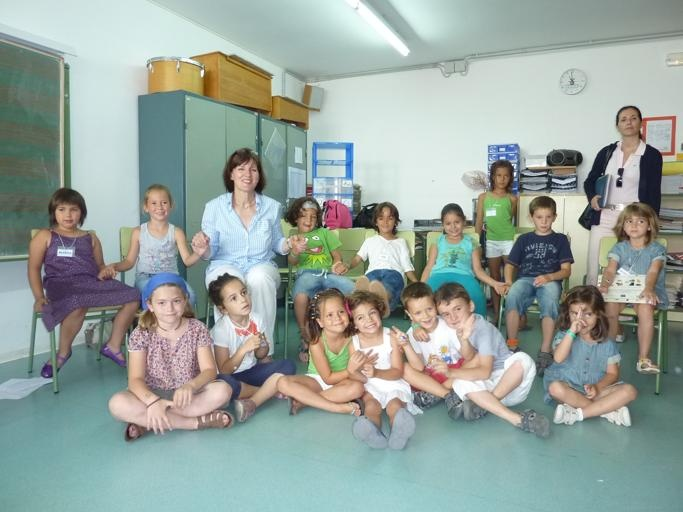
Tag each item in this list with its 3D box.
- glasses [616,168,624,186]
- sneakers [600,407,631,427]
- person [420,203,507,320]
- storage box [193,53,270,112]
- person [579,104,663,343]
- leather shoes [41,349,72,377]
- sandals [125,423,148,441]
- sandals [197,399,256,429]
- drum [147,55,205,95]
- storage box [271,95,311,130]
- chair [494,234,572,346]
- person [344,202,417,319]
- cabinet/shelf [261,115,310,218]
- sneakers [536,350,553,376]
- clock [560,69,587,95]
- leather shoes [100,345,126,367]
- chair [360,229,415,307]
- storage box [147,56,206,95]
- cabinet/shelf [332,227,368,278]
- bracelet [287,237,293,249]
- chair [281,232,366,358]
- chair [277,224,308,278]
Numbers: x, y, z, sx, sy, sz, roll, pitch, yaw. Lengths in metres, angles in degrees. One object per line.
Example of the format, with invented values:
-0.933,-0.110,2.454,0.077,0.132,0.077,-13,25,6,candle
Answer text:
2.222,-0.628,4.232,0.049,0.145,0.037,7,16,27,glasses
1.499,0.864,2.870,0.076,0.076,0.173,-3,-7,-37,sneakers
0.843,0.040,3.988,0.733,0.681,1.075,-1,16,8,person
-1.048,-1.663,5.335,0.297,0.453,0.928,0,3,25,storage box
2.218,-0.286,4.328,0.548,1.775,0.586,-6,13,-34,person
-1.840,0.718,3.415,0.108,0.241,0.064,40,3,39,leather shoes
-1.052,0.889,2.716,0.043,0.063,0.110,-1,18,46,sandals
-0.606,0.853,2.902,0.317,0.109,0.121,-19,5,-39,sandals
-1.497,-1.572,4.773,0.383,0.245,0.392,1,5,0,drum
-0.625,-1.659,6.184,0.176,0.249,0.676,2,5,26,storage box
1.447,0.220,3.930,0.497,0.839,0.566,2,4,23,chair
0.294,-0.029,4.183,0.668,0.758,1.030,1,10,12,person
-0.733,-0.941,5.869,0.318,0.902,0.928,2,4,25,cabinet/shelf
1.311,0.692,3.446,0.078,0.092,0.215,-3,8,29,sneakers
2.648,-1.987,6.037,0.305,0.313,0.041,-3,1,36,clock
-1.572,0.684,3.651,0.181,0.070,0.067,37,-1,-26,leather shoes
0.371,0.114,4.290,0.369,0.264,0.620,0,17,7,chair
-1.455,-1.596,4.685,0.388,0.243,0.387,0,3,-13,storage box
0.098,-0.039,4.922,0.382,0.515,0.409,0,-1,15,cabinet/shelf
-0.354,-0.092,3.642,0.027,0.069,0.051,3,10,-24,bracelet
-0.161,0.182,4.091,0.485,0.846,0.581,-3,15,-6,chair
-0.511,-0.050,4.808,0.276,0.482,0.320,-2,-6,-5,chair
